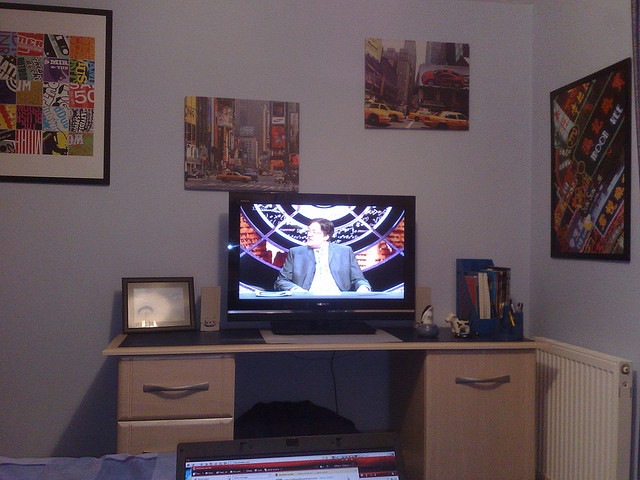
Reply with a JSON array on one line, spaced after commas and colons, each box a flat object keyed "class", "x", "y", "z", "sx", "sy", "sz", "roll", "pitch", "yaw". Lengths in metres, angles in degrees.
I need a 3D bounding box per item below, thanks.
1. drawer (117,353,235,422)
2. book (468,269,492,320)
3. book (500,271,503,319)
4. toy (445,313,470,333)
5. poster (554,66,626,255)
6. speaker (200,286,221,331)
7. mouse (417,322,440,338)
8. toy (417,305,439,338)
[{"class": "drawer", "x": -0.756, "y": 0.870, "z": 3.253, "sx": 0.618, "sy": 0.449, "sz": 0.661, "roll": 1, "pitch": -9, "yaw": -7}, {"class": "book", "x": 0.941, "y": 0.335, "z": 3.395, "sx": 0.046, "sy": 0.383, "sz": 0.274, "roll": 0, "pitch": -1, "yaw": -11}, {"class": "book", "x": 1.055, "y": 0.327, "z": 3.375, "sx": 0.020, "sy": 0.273, "sz": 0.051, "roll": 2, "pitch": 6, "yaw": 18}, {"class": "toy", "x": 0.781, "y": 0.484, "z": 3.291, "sx": 0.132, "sy": 0.108, "sz": 0.083, "roll": -7, "pitch": -9, "yaw": 44}, {"class": "poster", "x": 1.495, "y": -0.418, "z": 3.236, "sx": 0.116, "sy": 1.013, "sz": 0.563, "roll": -2, "pitch": 6, "yaw": -15}, {"class": "speaker", "x": -0.651, "y": 0.399, "z": 3.345, "sx": 0.146, "sy": 0.251, "sz": 0.114, "roll": 2, "pitch": 6, "yaw": 13}, {"class": "mouse", "x": 0.600, "y": 0.512, "z": 3.223, "sx": 0.114, "sy": 0.068, "sz": 0.067, "roll": 1, "pitch": 6, "yaw": 6}, {"class": "toy", "x": 0.611, "y": 0.454, "z": 3.250, "sx": 0.115, "sy": 0.186, "sz": 0.118, "roll": -12, "pitch": 16, "yaw": -35}]
